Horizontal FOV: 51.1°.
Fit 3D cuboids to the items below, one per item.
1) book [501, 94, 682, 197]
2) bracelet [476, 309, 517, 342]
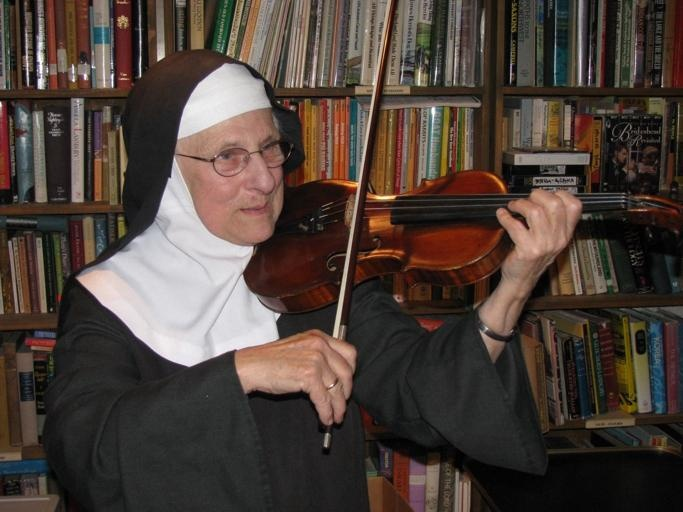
[{"bbox_3d":[1.079,-0.508,3.054,0.782,0.387,0.226,-2,19,-11],"label":"book"},{"bbox_3d":[0.399,0.189,1.873,0.083,0.026,0.078,32,-9,7],"label":"bracelet"}]
